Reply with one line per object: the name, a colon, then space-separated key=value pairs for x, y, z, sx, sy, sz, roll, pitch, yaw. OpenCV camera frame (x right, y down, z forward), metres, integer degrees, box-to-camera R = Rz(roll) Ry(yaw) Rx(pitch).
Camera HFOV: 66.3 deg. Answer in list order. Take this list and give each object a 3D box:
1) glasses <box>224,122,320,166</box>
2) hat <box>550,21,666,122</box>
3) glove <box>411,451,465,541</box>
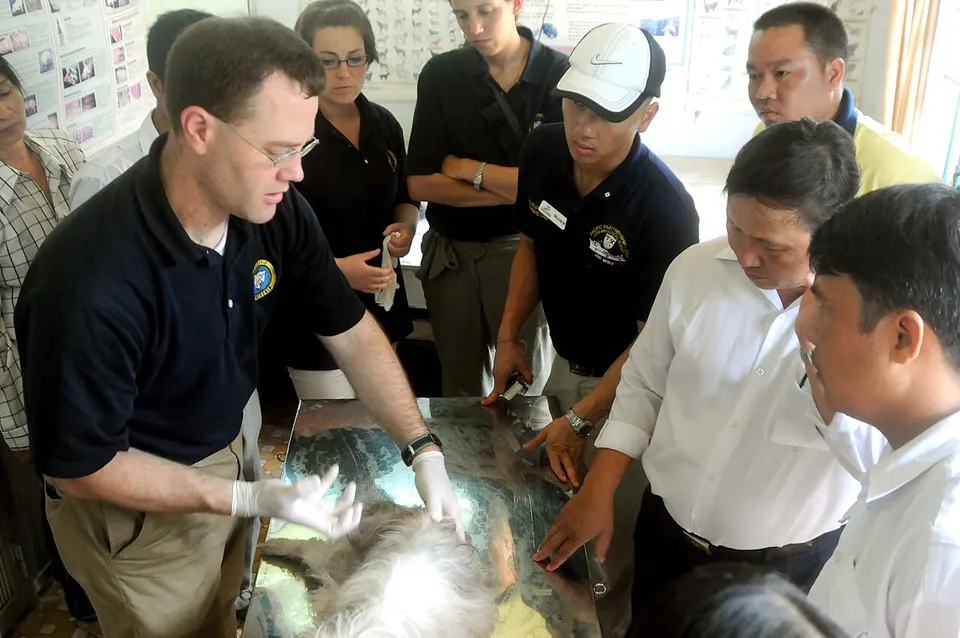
glasses: x=-0.639 y=-0.574 z=2.257 sx=0.222 sy=0.069 sz=0.221 roll=36 pitch=39 yaw=20
hat: x=0.482 y=-0.911 z=2.713 sx=0.293 sy=0.346 sz=0.347 roll=17 pitch=25 yaw=40
glove: x=-0.143 y=0.575 z=2.421 sx=0.111 sy=0.094 sz=0.385 roll=37 pitch=15 yaw=-24
